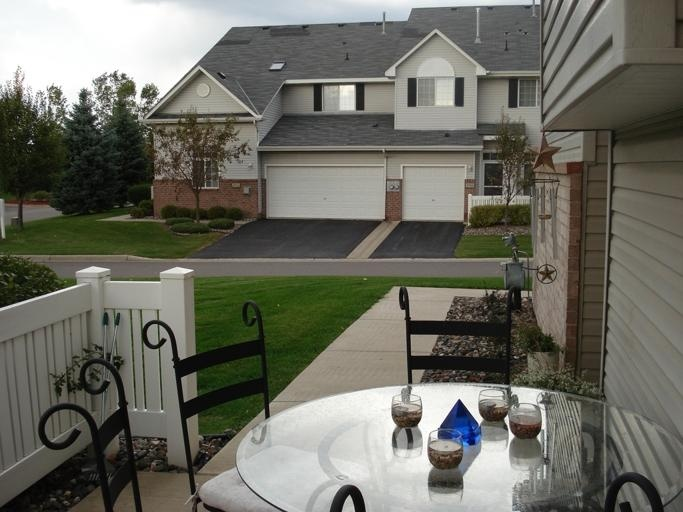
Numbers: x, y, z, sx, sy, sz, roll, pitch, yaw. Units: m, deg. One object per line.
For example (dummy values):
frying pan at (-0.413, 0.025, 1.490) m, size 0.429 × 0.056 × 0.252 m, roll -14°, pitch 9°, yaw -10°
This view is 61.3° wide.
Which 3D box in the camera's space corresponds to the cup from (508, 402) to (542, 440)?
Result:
cup at (1.194, 1.047, 3.738) m, size 0.192 × 0.183 × 0.200 m, roll -3°, pitch 5°, yaw 0°

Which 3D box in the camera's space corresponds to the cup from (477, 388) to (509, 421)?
cup at (1.049, 0.994, 3.973) m, size 0.189 × 0.180 × 0.198 m, roll -2°, pitch 4°, yaw 0°
